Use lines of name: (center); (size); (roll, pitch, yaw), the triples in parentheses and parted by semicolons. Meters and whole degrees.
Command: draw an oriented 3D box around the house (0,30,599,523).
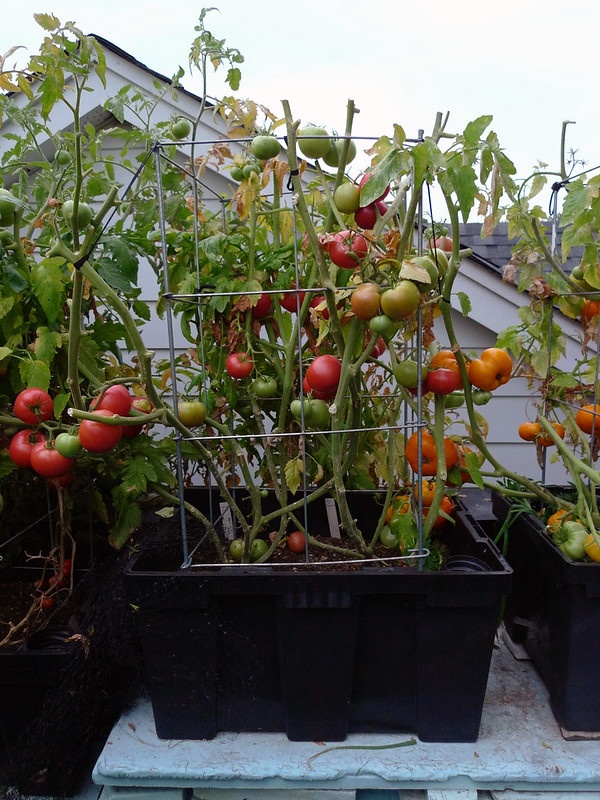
house: (0.302, -0.357, 3.359); (2.574, 1.591, 0.682); (11, 6, -3)

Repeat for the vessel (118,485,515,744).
vessel: (0.042, 0.419, 1.556); (0.662, 0.316, 0.478); (-1, 9, -2)
